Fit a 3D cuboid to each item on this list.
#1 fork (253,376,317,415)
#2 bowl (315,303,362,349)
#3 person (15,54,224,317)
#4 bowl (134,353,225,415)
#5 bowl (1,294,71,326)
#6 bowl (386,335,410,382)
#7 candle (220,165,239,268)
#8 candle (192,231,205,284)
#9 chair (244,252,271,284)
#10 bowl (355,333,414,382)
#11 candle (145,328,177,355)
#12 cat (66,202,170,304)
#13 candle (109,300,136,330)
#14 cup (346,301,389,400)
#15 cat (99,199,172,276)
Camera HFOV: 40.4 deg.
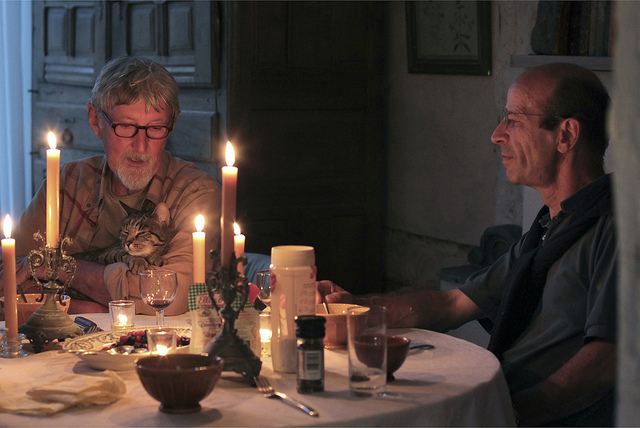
[{"bbox_3d":[-0.110,0.600,2.855,0.035,0.029,0.193,-8,26,-43],"label":"fork"},{"bbox_3d":[0.054,0.422,3.253,0.156,0.102,0.158,0,-7,0],"label":"bowl"},{"bbox_3d":[-0.995,-0.031,4.198,1.095,1.414,0.763,9,10,11],"label":"person"},{"bbox_3d":[-0.452,0.560,2.839,0.278,0.157,0.282,0,0,0],"label":"bowl"},{"bbox_3d":[-1.085,0.351,3.375,0.168,0.093,0.169,0,-6,0],"label":"bowl"},{"bbox_3d":[0.270,0.495,2.968,0.125,0.108,0.135,1,-2,0],"label":"bowl"},{"bbox_3d":[-0.310,0.003,2.970,0.069,0.338,0.170,-2,5,-7],"label":"candle"},{"bbox_3d":[-0.424,0.152,3.074,0.040,0.175,0.110,-3,5,-8],"label":"candle"},{"bbox_3d":[-0.317,0.272,4.404,0.162,0.152,0.205,1,-5,-2],"label":"chair"},{"bbox_3d":[0.214,0.478,2.959,0.173,0.113,0.175,0,-9,0],"label":"bowl"},{"bbox_3d":[-0.532,0.431,2.961,0.089,0.097,0.089,1,-5,1],"label":"candle"},{"bbox_3d":[-0.920,0.172,3.982,0.442,0.417,0.371,-1,5,5],"label":"cat"},{"bbox_3d":[-0.749,0.381,3.319,0.098,0.112,0.104,0,-4,10],"label":"candle"},{"bbox_3d":[0.150,0.480,2.969,0.173,0.320,0.176,-3,-7,0],"label":"cup"},{"bbox_3d":[-0.824,0.095,4.009,0.325,0.314,0.426,-4,6,-27],"label":"cat"}]
